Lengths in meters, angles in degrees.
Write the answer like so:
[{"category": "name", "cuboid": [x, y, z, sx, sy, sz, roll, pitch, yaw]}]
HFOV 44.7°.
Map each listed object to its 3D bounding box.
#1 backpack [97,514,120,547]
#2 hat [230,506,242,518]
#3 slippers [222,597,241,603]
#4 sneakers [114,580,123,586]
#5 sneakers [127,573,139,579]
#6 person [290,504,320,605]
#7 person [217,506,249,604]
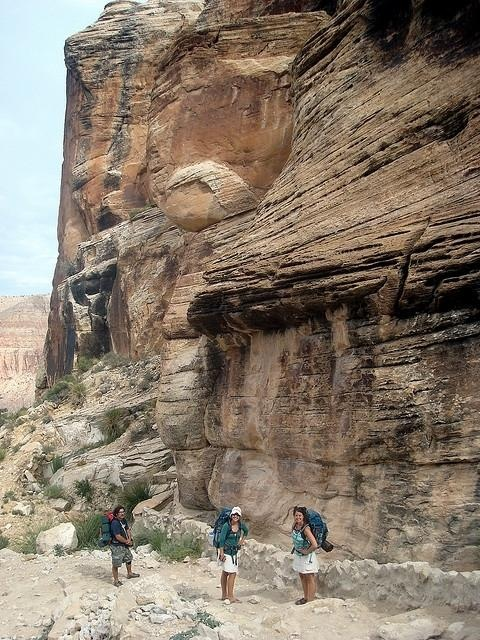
[{"category": "backpack", "cuboid": [-1.558, 2.478, 6.846, 0.163, 0.410, 0.260, 5, -7, -12]}, {"category": "hat", "cuboid": [-0.046, 2.027, 6.193, 0.168, 0.120, 0.228, 5, -26, -1]}, {"category": "slippers", "cuboid": [-0.096, 2.992, 6.233, 0.194, 0.079, 0.065, -3, -7, 5]}, {"category": "sneakers", "cuboid": [-1.427, 3.077, 6.789, 0.121, 0.050, 0.043, -3, -6, 6]}, {"category": "sneakers", "cuboid": [-1.295, 3.117, 7.093, 0.146, 0.062, 0.059, 2, -4, -12]}, {"category": "person", "cuboid": [0.643, 2.364, 5.854, 0.255, 0.982, 0.493, 3, -7, 6]}, {"category": "person", "cuboid": [-0.088, 2.537, 6.315, 0.296, 1.079, 0.671, 3, -6, 1]}]
